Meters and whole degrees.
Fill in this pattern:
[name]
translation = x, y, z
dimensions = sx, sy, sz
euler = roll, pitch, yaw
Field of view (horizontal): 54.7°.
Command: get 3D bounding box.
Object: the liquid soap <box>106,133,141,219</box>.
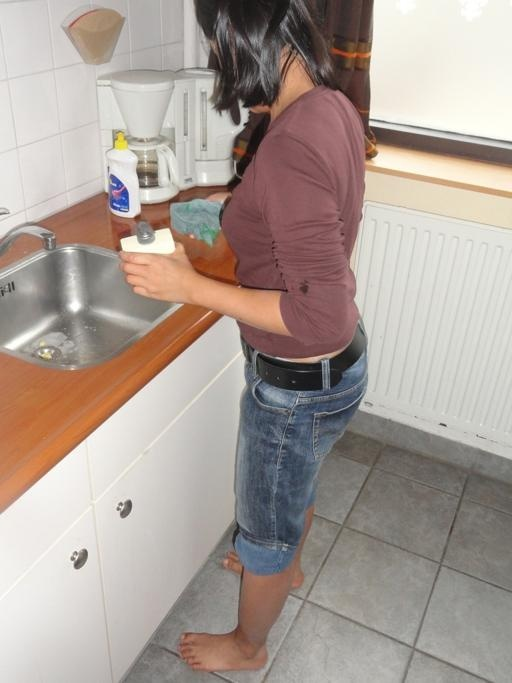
[liquid soap]
translation = -0.370, -0.455, 1.398
dimensions = 0.072, 0.230, 0.102
euler = 13, 39, 0
